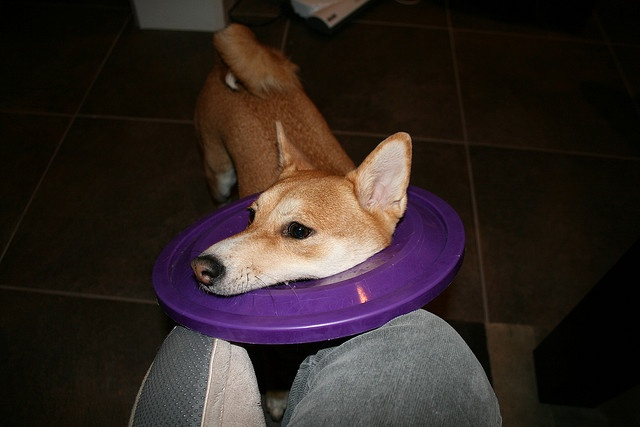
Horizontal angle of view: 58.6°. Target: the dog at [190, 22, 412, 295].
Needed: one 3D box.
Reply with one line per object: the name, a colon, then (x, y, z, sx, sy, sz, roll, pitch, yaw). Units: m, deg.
dog: (-0.302, -0.580, 4.549, 1.207, 1.766, 2.392, -10, 65, -9)
